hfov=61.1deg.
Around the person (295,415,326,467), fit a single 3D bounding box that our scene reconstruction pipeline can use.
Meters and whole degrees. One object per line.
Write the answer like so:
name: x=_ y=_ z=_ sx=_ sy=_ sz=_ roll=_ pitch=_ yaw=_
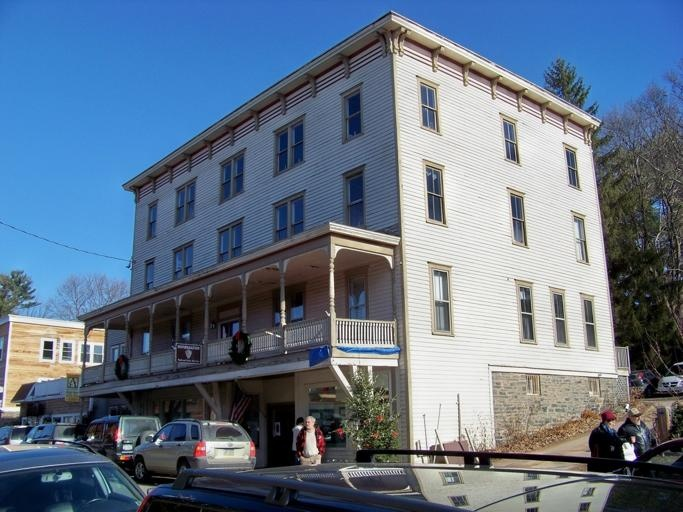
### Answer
person: x=-0.801 y=4.976 z=14.866 sx=0.714 sy=1.879 sz=0.445 roll=-4 pitch=14 yaw=-9
